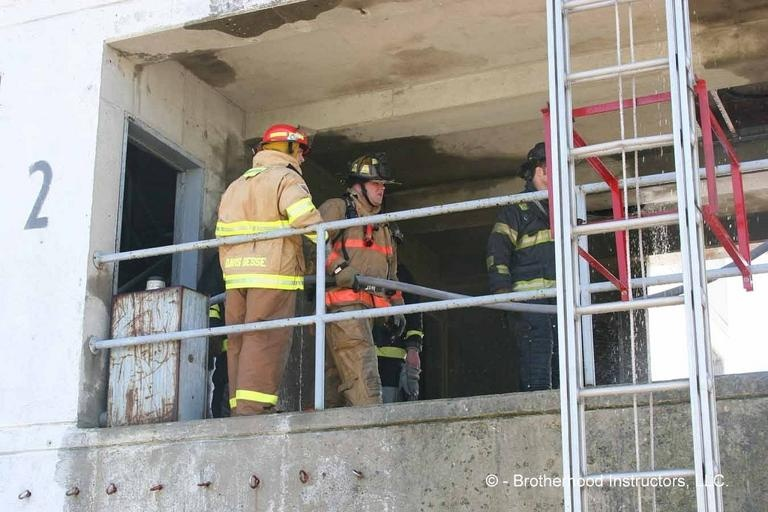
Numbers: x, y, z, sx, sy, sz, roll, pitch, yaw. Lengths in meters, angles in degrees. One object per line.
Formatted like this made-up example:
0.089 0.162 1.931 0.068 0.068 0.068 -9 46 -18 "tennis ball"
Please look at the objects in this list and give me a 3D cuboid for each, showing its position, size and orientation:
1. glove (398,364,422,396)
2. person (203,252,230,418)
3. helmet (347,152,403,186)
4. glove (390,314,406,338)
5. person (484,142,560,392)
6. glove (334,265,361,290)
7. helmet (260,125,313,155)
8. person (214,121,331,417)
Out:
0.206 1.113 14.461 0.262 0.340 0.311 1 -7 -3 "glove"
-1.503 0.756 14.717 0.326 1.369 0.383 -2 -4 12 "person"
-0.107 -0.756 14.375 0.334 0.165 0.261 -5 -3 18 "helmet"
0.097 0.617 14.329 0.163 0.213 0.074 2 5 -35 "glove"
1.154 0.087 13.763 0.589 2.188 0.691 -7 -15 5 "person"
-0.315 0.186 13.838 0.199 0.250 0.389 -5 -14 -2 "glove"
-0.776 -1.005 13.994 0.344 0.170 0.461 2 0 29 "helmet"
-0.947 0.097 13.503 0.956 2.469 0.662 -7 -15 6 "person"
